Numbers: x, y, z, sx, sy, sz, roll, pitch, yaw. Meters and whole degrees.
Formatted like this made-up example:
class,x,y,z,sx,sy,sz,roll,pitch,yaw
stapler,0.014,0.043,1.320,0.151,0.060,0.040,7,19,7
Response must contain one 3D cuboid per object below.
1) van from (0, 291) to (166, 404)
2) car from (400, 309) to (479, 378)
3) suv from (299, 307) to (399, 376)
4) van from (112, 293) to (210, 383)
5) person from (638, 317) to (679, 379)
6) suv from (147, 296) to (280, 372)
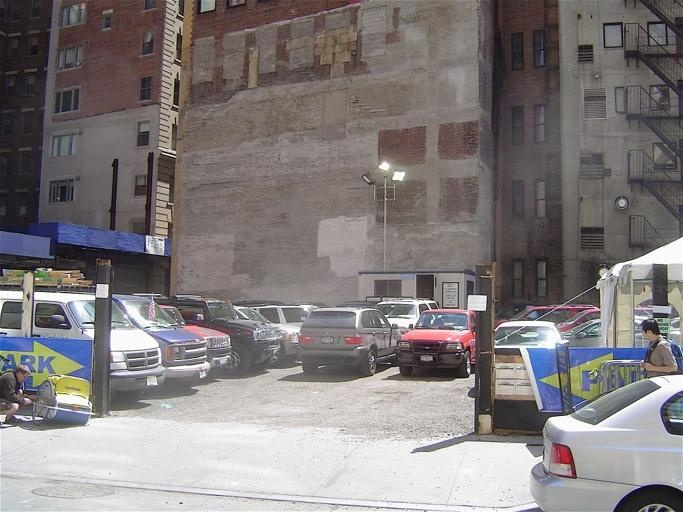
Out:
class,x,y,z,sx,sy,sz,roll,pitch,yaw
van,-6.162,1.965,18.134,3.773,1.823,2.164,-1,-1,22
car,2.942,2.733,23.169,1.958,1.782,2.311,7,10,25
suv,0.429,2.494,23.705,1.632,1.272,2.968,-1,0,23
van,-4.324,2.031,19.643,3.228,1.592,1.546,-2,-1,41
person,5.758,1.719,13.890,0.527,1.064,0.795,0,9,-20
suv,-3.930,2.197,23.293,3.673,1.722,1.894,0,-1,18
